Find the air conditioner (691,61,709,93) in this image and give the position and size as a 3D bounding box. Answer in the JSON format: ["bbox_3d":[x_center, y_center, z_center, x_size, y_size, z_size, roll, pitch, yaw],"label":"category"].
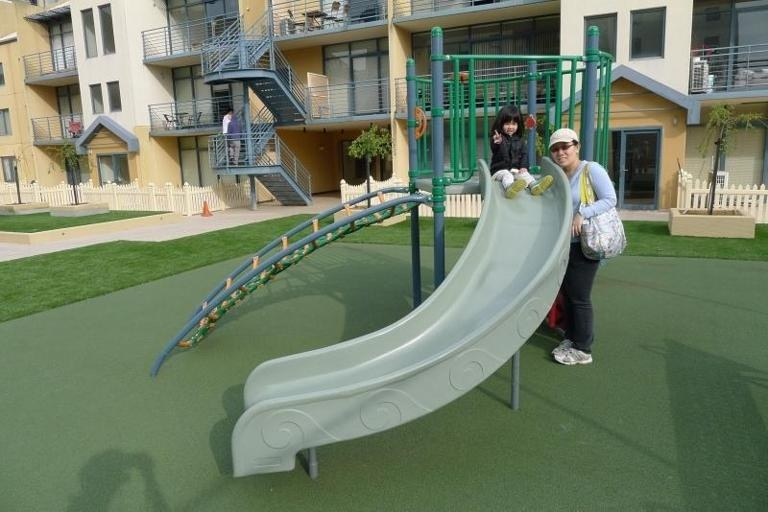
[{"bbox_3d":[9.590,-5.463,17.829,0.427,0.842,0.410,-11,11,-27],"label":"air conditioner"}]

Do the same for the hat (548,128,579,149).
[{"bbox_3d":[2.341,-1.520,7.516,0.334,0.238,0.295,-1,13,5],"label":"hat"}]

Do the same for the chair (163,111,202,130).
[{"bbox_3d":[-8.900,-5.954,25.548,1.637,0.660,1.245,-4,13,-9],"label":"chair"}]

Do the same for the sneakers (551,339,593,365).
[{"bbox_3d":[2.552,1.308,7.883,0.548,0.276,0.255,-1,31,28],"label":"sneakers"}]

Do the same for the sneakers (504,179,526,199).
[{"bbox_3d":[1.696,-0.853,7.486,0.345,0.150,0.150,-44,15,31],"label":"sneakers"}]

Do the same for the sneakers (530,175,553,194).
[{"bbox_3d":[2.034,-0.889,7.464,0.332,0.146,0.143,-41,22,22],"label":"sneakers"}]

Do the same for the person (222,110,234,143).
[{"bbox_3d":[-5.621,-4.711,20.822,0.378,1.049,0.788,-4,13,-6],"label":"person"}]

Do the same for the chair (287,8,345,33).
[{"bbox_3d":[-2.872,-9.442,23.209,2.446,1.044,1.202,6,15,33],"label":"chair"}]

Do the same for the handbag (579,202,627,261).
[{"bbox_3d":[2.906,-0.378,7.472,0.381,0.847,0.807,-2,12,45],"label":"handbag"}]
